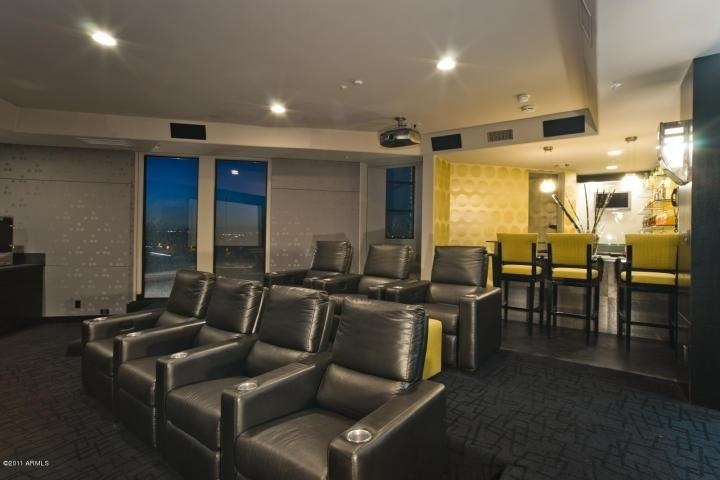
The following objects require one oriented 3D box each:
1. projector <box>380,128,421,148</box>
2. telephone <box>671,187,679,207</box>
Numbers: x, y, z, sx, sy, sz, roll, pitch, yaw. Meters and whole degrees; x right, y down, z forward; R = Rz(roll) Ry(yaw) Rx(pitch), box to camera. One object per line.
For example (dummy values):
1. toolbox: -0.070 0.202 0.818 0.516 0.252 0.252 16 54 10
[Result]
1. projector: 0.623 -1.657 7.498 0.596 0.286 0.320 1 3 26
2. telephone: 5.280 -0.708 7.896 0.069 0.301 0.291 1 3 27
